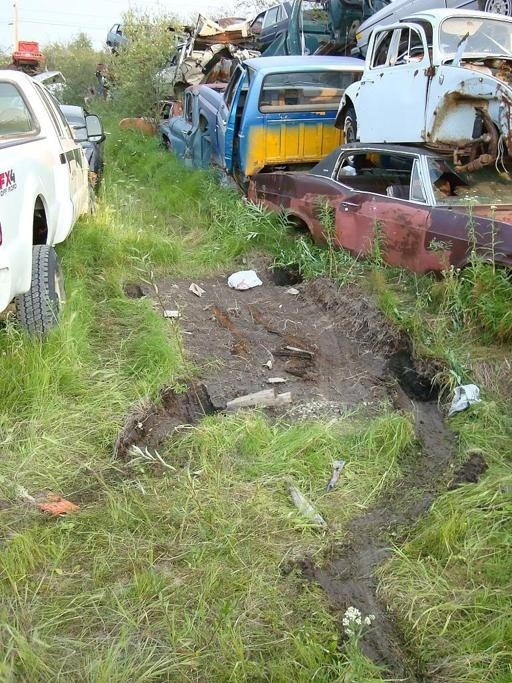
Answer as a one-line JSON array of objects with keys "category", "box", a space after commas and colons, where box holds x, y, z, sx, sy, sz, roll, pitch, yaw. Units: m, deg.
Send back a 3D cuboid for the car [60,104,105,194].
[{"category": "car", "box": [-2.309, -2.674, 7.685, 0.900, 0.849, 2.017, 3, 24, -13]}]
